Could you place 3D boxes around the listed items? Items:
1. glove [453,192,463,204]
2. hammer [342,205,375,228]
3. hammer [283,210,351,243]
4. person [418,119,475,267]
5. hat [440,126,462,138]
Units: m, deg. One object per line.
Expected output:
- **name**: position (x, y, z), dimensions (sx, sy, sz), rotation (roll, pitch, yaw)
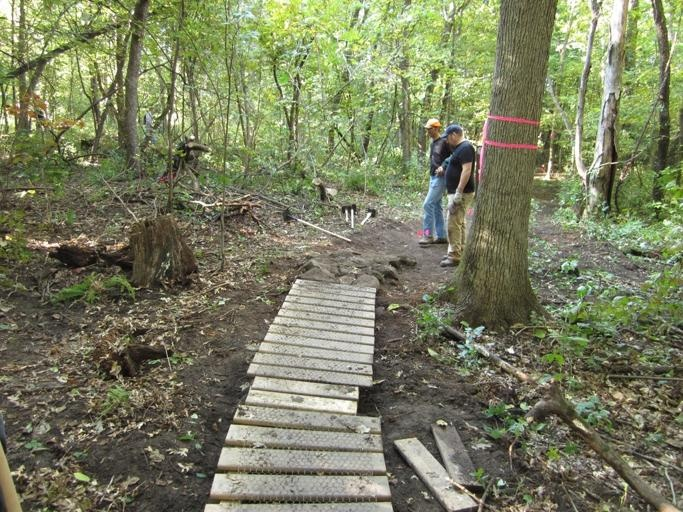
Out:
- **glove**: position (1.942, -0.983, 8.316), dimensions (0.119, 0.179, 0.124), rotation (5, 10, 21)
- **hammer**: position (0.336, -0.968, 11.793), dimensions (0.604, 0.224, 0.843), rotation (5, 26, 2)
- **hammer**: position (-0.349, -0.630, 10.086), dimensions (2.562, 0.351, 0.533), rotation (16, 5, 40)
- **person**: position (1.976, -1.069, 8.505), dimensions (0.601, 2.428, 1.061), rotation (4, 10, 14)
- **hat**: position (1.865, -2.135, 8.560), dimensions (0.222, 0.155, 0.309), rotation (-28, 34, -37)
